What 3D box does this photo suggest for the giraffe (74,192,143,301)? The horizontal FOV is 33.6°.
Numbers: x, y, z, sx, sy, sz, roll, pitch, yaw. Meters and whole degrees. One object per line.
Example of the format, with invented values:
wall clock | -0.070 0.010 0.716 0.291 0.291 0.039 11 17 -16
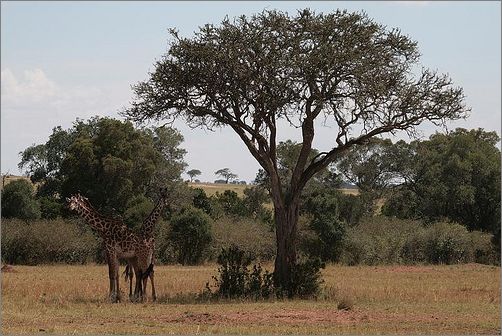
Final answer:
giraffe | -9.809 5.452 56.677 3.887 6.743 1.555 4 7 25
